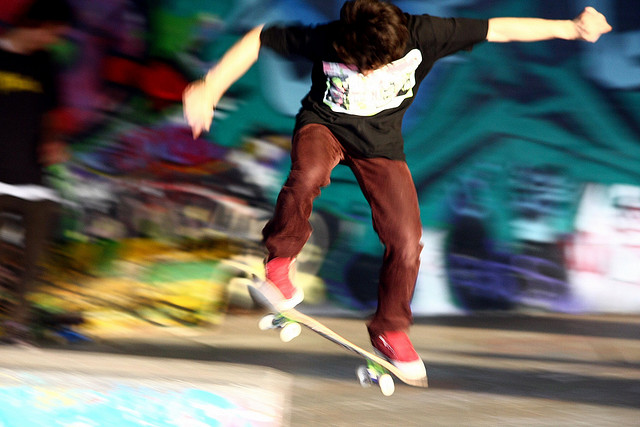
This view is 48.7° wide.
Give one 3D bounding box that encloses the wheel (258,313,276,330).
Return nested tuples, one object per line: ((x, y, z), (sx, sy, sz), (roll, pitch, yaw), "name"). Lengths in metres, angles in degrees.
((-0.541, 1.108, 7.300), (0.208, 0.170, 0.099), (-17, 46, -5), "wheel")

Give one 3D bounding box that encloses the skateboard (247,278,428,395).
((0.173, 1.417, 7.894), (2.309, 0.494, 0.324), (24, 81, 0), "skateboard")

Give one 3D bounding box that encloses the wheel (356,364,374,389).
((0.449, 1.685, 7.327), (0.119, 0.225, 0.208), (-11, 91, -8), "wheel")

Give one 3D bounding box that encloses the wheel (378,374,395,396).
((0.676, 1.717, 7.129), (0.182, 0.054, 0.180), (3, 80, -15), "wheel")
